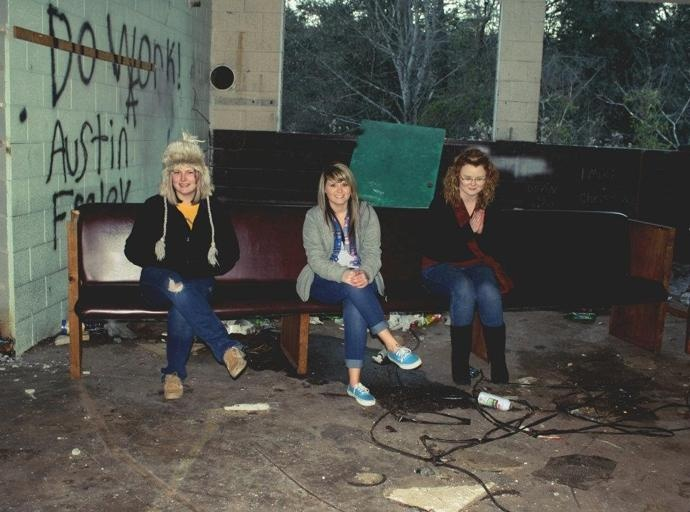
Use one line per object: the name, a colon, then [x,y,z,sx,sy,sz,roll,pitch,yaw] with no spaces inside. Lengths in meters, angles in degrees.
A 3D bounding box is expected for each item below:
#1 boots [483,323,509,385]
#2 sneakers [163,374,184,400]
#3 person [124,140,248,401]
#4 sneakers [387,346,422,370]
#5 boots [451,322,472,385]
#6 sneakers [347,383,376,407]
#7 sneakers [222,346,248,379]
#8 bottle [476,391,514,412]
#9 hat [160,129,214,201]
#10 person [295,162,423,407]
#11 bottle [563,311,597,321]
boots: [1.091,0.692,4.284,0.205,0.426,0.123,7,16,20]
sneakers: [-1.119,0.862,3.926,0.082,0.089,0.198,3,-4,-16]
person: [-1.083,0.039,4.093,0.771,1.674,0.920,-4,16,-20]
sneakers: [0.393,0.685,4.062,0.271,0.107,0.127,7,25,44]
boots: [0.833,0.693,4.266,0.166,0.423,0.121,5,15,11]
sneakers: [0.117,0.920,4.001,0.093,0.093,0.238,-4,6,-38]
sneakers: [-0.708,0.680,3.903,0.124,0.088,0.221,-30,30,-20]
bottle: [0.986,0.955,3.925,0.189,0.069,0.099,9,14,28]
hat: [-1.117,-0.653,4.327,0.499,0.628,0.450,-1,3,-10]
person: [0.070,0.160,4.129,0.642,1.527,0.864,-4,16,-22]
bottle: [2.283,0.574,5.770,0.247,0.071,0.184,1,6,1]
